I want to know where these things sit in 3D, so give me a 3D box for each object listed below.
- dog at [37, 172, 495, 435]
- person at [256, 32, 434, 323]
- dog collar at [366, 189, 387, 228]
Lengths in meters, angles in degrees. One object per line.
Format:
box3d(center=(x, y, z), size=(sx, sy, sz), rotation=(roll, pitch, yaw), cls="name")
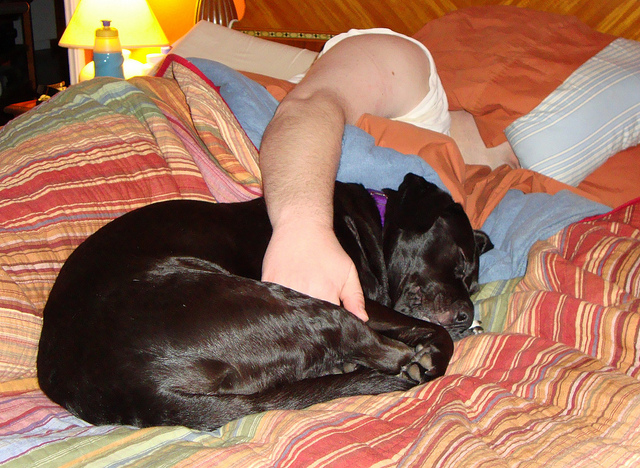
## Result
box3d(center=(-0.165, 0.217, 1.916), size=(1.215, 0.492, 0.902), rotation=(-3, 7, -22), cls="dog")
box3d(center=(0.097, -0.333, 2.170), size=(0.698, 0.458, 1.218), rotation=(15, 52, 6), cls="person")
box3d(center=(0.253, -0.129, 2.439), size=(0.121, 0.048, 0.121), rotation=(-2, 84, 10), cls="dog collar")
